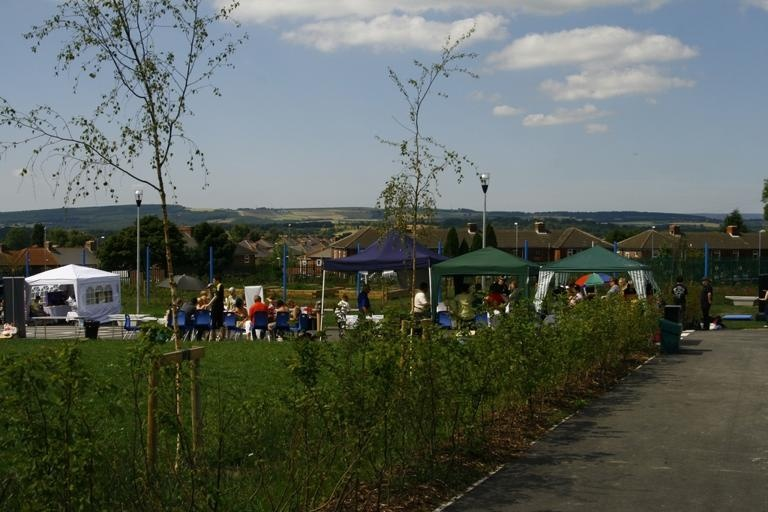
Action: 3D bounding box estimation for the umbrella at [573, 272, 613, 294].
[{"bbox_3d":[6.743,0.830,28.504,0.985,0.898,1.040,-1,0,4],"label":"umbrella"}]

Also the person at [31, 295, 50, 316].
[{"bbox_3d":[-11.688,1.740,30.265,0.545,0.824,0.491,5,12,40],"label":"person"}]

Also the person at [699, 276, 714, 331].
[{"bbox_3d":[9.919,1.459,27.265,0.307,1.534,1.162,-2,-2,20],"label":"person"}]

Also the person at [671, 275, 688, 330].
[{"bbox_3d":[8.633,1.377,26.028,0.504,1.742,0.484,8,20,25],"label":"person"}]

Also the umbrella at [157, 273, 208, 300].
[{"bbox_3d":[-7.428,1.207,32.370,1.583,1.164,1.645,1,-1,1],"label":"umbrella"}]

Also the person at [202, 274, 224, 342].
[{"bbox_3d":[-4.496,1.421,23.841,0.426,1.746,0.516,4,5,19],"label":"person"}]

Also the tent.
[{"bbox_3d":[-10.899,1.379,31.412,2.711,1.980,2.823,-1,-1,14],"label":"tent"}]

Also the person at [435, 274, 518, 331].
[{"bbox_3d":[2.014,0.979,19.102,1.228,0.715,1.259,-3,3,-6],"label":"person"}]
